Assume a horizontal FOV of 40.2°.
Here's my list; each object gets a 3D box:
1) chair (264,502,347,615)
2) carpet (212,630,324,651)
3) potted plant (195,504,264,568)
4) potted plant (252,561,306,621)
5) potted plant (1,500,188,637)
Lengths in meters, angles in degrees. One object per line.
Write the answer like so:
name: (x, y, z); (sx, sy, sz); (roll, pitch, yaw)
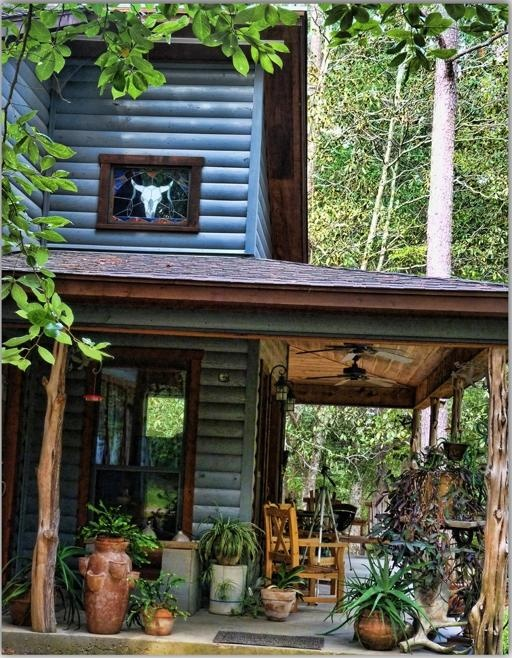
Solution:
chair: (0.476, 2.070, 6.527); (0.848, 1.239, 0.745); (6, -14, -17)
carpet: (0.093, 2.204, 4.998); (0.771, 0.072, 0.554); (1, -8, 4)
potted plant: (-0.246, 1.894, 6.229); (0.517, 0.413, 0.627); (2, -9, -2)
potted plant: (0.180, 2.199, 5.990); (0.485, 0.507, 0.471); (-3, -8, 36)
potted plant: (-1.148, 1.860, 5.599); (1.534, 1.031, 1.194); (0, -6, 6)
